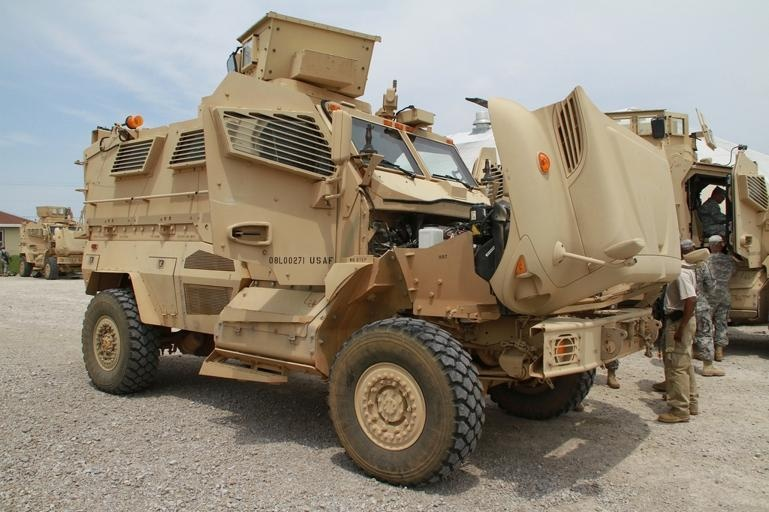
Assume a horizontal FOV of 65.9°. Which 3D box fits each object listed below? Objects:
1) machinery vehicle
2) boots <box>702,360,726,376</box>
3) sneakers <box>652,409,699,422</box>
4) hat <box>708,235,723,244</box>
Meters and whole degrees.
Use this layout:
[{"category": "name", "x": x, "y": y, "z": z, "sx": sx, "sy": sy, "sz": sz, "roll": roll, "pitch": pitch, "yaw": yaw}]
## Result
[{"category": "machinery vehicle", "x": -0.287, "y": -0.056, "z": 8.618, "sx": 7.952, "sy": 4.868, "sz": 4.954, "roll": 4, "pitch": 1, "yaw": 35}, {"category": "boots", "x": 5.307, "y": 1.807, "z": 9.577, "sx": 0.394, "sy": 0.302, "sz": 0.206, "roll": -1, "pitch": -1, "yaw": -15}, {"category": "sneakers", "x": 3.693, "y": 2.044, "z": 7.555, "sx": 0.382, "sy": 0.183, "sz": 0.171, "roll": 1, "pitch": 0, "yaw": 20}, {"category": "hat", "x": 5.677, "y": -0.299, "z": 10.134, "sx": 0.282, "sy": 0.095, "sz": 0.198, "roll": -12, "pitch": 13, "yaw": -39}]
